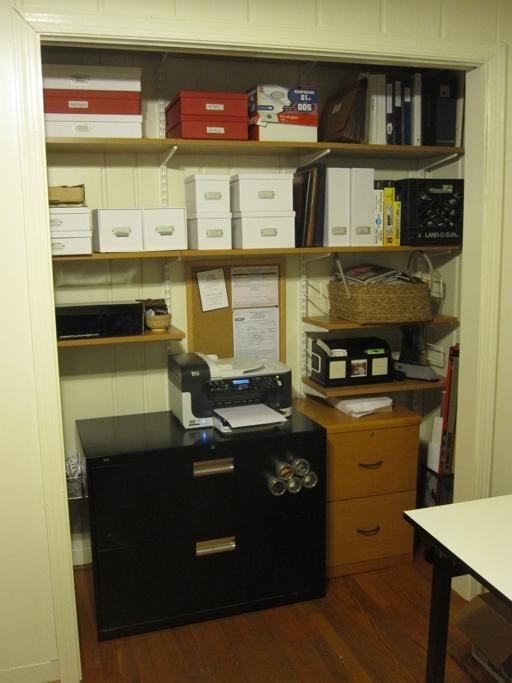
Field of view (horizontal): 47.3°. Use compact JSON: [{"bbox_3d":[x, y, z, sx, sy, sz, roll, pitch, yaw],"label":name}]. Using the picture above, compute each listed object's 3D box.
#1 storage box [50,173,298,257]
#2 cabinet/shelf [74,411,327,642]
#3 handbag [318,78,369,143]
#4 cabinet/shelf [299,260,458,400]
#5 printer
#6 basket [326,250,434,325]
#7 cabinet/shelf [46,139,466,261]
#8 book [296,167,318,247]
[{"bbox_3d":[-0.285,-0.503,2.322,0.911,0.316,0.212,-3,8,-17],"label":"storage box"},{"bbox_3d":[-0.230,0.734,2.391,0.876,0.631,0.463,-2,-6,-18],"label":"cabinet/shelf"},{"bbox_3d":[0.374,-0.984,2.541,0.094,0.231,0.269,7,9,-22],"label":"handbag"},{"bbox_3d":[0.552,-0.063,2.708,0.665,0.608,0.352,-3,7,-20],"label":"cabinet/shelf"},{"bbox_3d":[-0.101,0.180,2.441,0.472,0.253,0.327,-5,11,-21],"label":"printer"},{"bbox_3d":[0.566,-0.219,2.657,0.417,0.253,0.393,-2,8,-11],"label":"basket"},{"bbox_3d":[-0.062,-0.627,2.629,1.953,0.453,0.288,1,13,6],"label":"cabinet/shelf"},{"bbox_3d":[0.212,-0.559,2.461,0.062,0.259,0.255,0,6,-7],"label":"book"}]
